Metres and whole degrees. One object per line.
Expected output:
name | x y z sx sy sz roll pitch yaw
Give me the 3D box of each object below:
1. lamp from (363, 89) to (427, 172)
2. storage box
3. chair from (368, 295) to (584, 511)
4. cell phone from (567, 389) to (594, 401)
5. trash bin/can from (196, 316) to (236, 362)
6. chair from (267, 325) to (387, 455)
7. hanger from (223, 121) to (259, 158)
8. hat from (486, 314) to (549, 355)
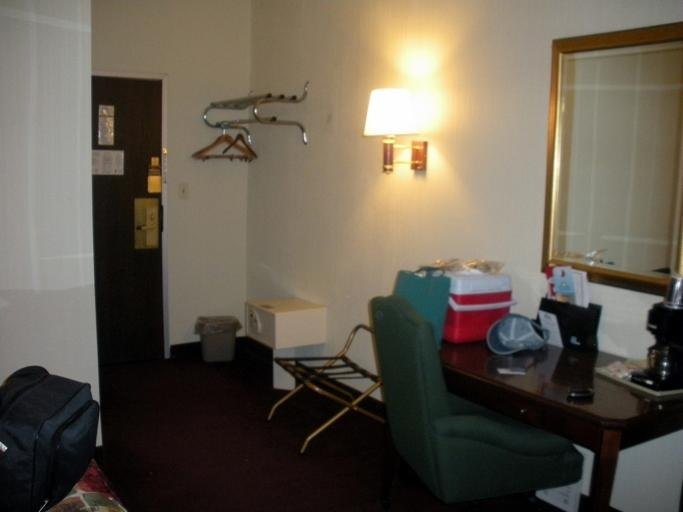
lamp | 0.364 -0.808 3.492 0.319 0.541 0.453 7 13 33
storage box | 0.722 0.217 2.972 0.401 0.323 0.411 6 9 41
chair | 0.536 0.557 2.652 0.925 0.932 0.944 -7 10 -20
cell phone | 0.996 0.573 2.270 0.092 0.033 0.048 -6 17 1
trash bin/can | -1.174 0.718 5.114 0.450 0.409 0.357 1 -2 -16
chair | -0.055 0.896 3.876 0.775 0.642 0.790 -9 4 -26
hanger | -0.969 -1.103 5.136 0.301 0.340 0.284 -4 0 -28
hat | 0.911 0.400 2.780 0.255 0.203 0.094 10 -22 16
